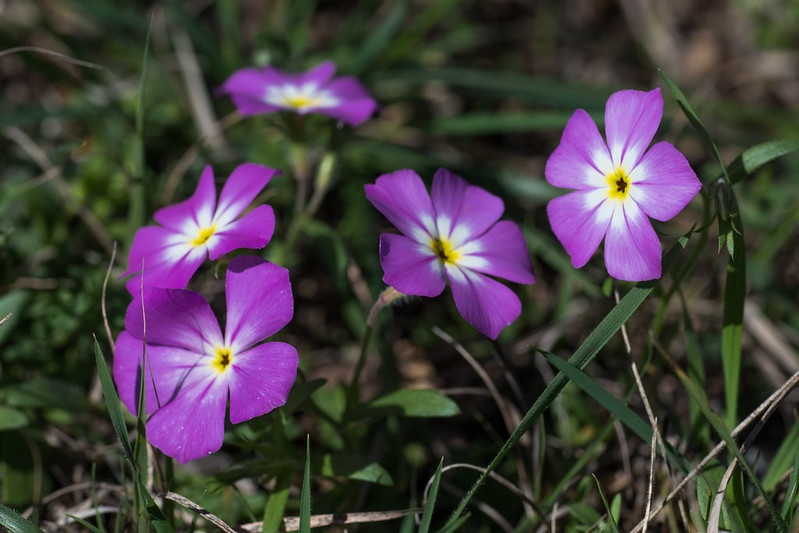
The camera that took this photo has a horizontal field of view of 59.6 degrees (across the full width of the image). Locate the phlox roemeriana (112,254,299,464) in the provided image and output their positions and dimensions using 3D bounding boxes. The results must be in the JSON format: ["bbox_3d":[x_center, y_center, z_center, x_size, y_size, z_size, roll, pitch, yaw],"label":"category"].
[{"bbox_3d":[-0.642,0.306,2.422,0.564,0.441,0.489,-8,44,-11],"label":"phlox roemeriana"}]

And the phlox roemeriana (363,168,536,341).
[{"bbox_3d":[0.192,-0.063,2.518,0.622,0.342,0.533,-2,44,-4],"label":"phlox roemeriana"}]

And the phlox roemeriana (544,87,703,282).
[{"bbox_3d":[0.771,-0.274,2.487,0.426,0.553,0.589,-13,45,-16],"label":"phlox roemeriana"}]
